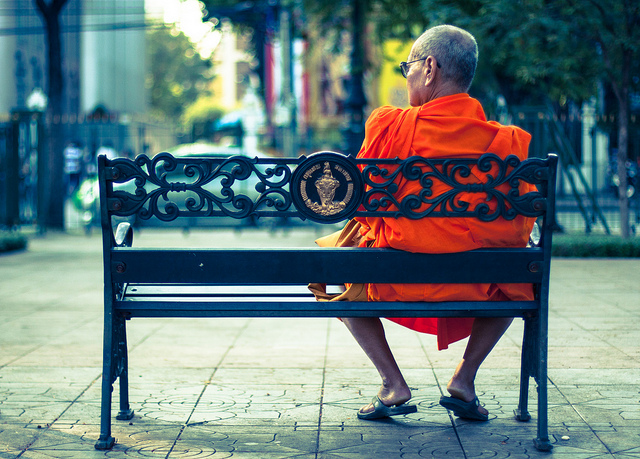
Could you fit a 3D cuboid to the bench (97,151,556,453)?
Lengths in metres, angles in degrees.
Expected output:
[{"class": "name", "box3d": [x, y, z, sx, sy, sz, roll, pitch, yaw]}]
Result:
[{"class": "bench", "box3d": [0.120, 0.467, 7.979, 3.250, 2.133, 0.620, 1, 13, 2]}]

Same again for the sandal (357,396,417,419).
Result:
[{"class": "sandal", "box3d": [0.534, 1.397, 8.230, 0.464, 0.159, 0.169, -1, -3, 4]}]
